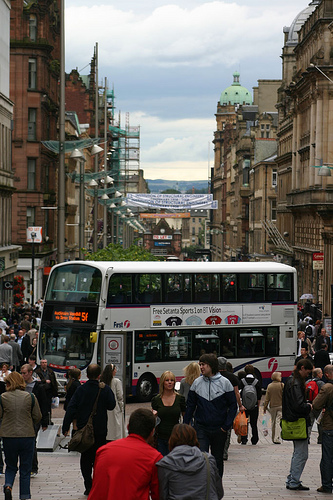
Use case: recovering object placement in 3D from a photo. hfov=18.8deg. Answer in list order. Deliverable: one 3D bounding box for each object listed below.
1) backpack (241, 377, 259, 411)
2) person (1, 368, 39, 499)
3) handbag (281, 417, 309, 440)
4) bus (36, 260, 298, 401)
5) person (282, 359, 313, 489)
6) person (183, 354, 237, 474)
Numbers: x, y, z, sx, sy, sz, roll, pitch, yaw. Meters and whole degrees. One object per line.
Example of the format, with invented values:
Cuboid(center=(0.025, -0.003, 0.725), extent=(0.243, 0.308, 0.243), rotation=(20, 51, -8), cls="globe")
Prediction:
Cuboid(center=(1.406, 2.412, 16.816), extent=(0.257, 0.519, 0.484), rotation=(-4, 5, 13), cls="backpack")
Cuboid(center=(-1.636, 2.065, 11.179), extent=(0.391, 1.432, 0.448), rotation=(0, 7, -11), cls="person")
Cuboid(center=(1.565, 2.208, 12.359), extent=(0.370, 0.303, 0.237), rotation=(-2, -8, 9), cls="handbag")
Cuboid(center=(0.112, 2.023, 26.069), extent=(8.385, 4.296, 2.781), rotation=(4, -3, -39), cls="bus")
Cuboid(center=(1.659, 2.164, 12.491), extent=(0.407, 1.628, 0.577), rotation=(0, 7, -5), cls="person")
Cuboid(center=(0.458, 1.911, 11.149), extent=(0.577, 1.508, 0.390), rotation=(-1, 4, -4), cls="person")
